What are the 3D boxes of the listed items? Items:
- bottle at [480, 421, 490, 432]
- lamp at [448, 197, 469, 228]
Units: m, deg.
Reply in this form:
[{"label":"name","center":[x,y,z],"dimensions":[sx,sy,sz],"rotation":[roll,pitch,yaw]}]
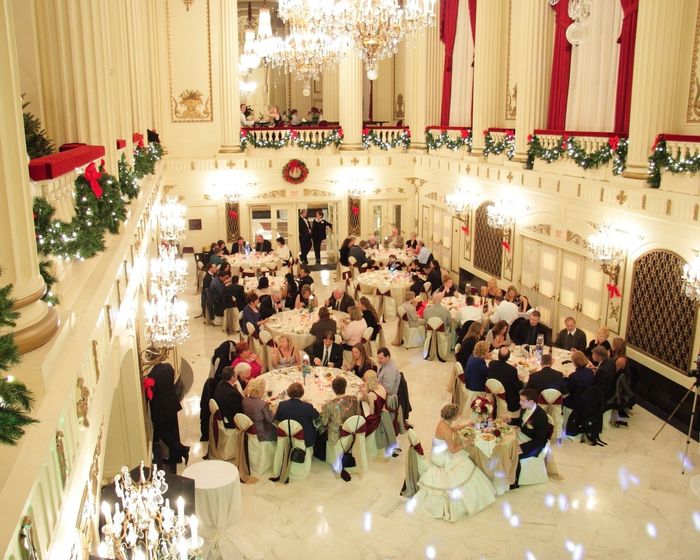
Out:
[{"label":"bottle","center":[1.749,1.881,6.736],"dimensions":[0.141,0.096,0.185],"rotation":[0,19,5]},{"label":"lamp","center":[3.109,-1.985,14.910],"dimensions":[0.617,1.001,1.207],"rotation":[2,19,13]}]
